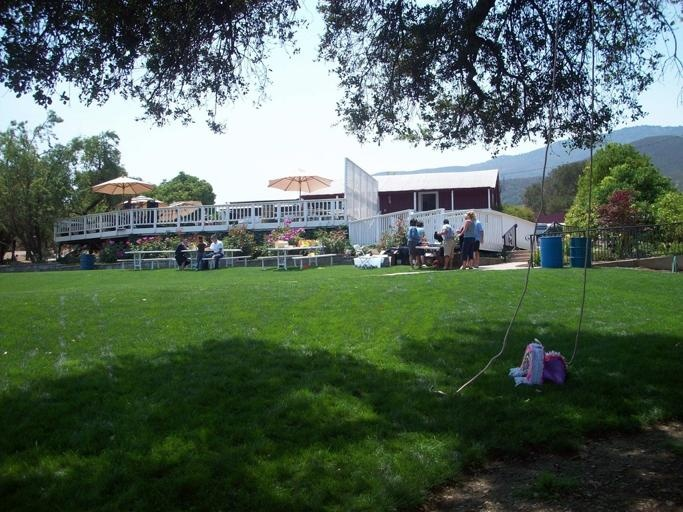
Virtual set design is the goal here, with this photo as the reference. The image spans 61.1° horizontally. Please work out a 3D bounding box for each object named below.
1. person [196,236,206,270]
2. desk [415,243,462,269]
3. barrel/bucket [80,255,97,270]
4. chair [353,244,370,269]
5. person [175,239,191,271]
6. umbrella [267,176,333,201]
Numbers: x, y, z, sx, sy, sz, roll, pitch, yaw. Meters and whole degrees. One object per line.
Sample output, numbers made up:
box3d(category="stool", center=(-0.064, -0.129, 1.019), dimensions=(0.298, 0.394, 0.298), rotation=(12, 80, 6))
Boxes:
box3d(category="person", center=(-6.002, -0.102, 24.690), dimensions=(0.391, 1.489, 1.265), rotation=(-2, 13, -14))
box3d(category="desk", center=(3.253, -0.026, 20.653), dimensions=(0.970, 0.722, 1.047), rotation=(0, 1, 41))
box3d(category="barrel/bucket", center=(-12.544, 0.279, 28.712), dimensions=(0.652, 0.758, 0.779), rotation=(-5, 14, -23))
box3d(category="chair", center=(0.753, -0.042, 24.381), dimensions=(0.617, 1.187, 0.795), rotation=(-1, 1, -40))
box3d(category="person", center=(-7.027, -0.093, 25.688), dimensions=(0.567, 1.397, 3.424), rotation=(-3, 14, -15))
box3d(category="umbrella", center=(-2.085, -3.689, 30.692), dimensions=(2.951, 1.523, 3.309), rotation=(-4, 14, -18))
